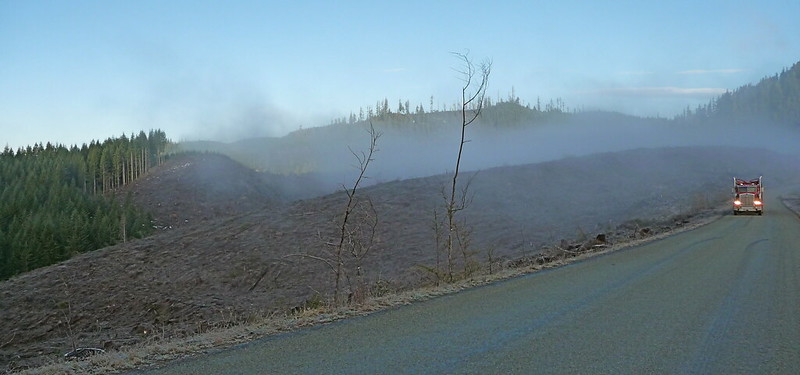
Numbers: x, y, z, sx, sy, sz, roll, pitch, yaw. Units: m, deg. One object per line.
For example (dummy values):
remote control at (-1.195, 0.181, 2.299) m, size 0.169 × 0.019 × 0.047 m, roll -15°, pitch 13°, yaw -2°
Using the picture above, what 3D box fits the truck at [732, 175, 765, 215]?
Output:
truck at (60.600, 1.723, 83.106) m, size 4.743 × 6.214 × 4.213 m, roll -6°, pitch 5°, yaw 25°
